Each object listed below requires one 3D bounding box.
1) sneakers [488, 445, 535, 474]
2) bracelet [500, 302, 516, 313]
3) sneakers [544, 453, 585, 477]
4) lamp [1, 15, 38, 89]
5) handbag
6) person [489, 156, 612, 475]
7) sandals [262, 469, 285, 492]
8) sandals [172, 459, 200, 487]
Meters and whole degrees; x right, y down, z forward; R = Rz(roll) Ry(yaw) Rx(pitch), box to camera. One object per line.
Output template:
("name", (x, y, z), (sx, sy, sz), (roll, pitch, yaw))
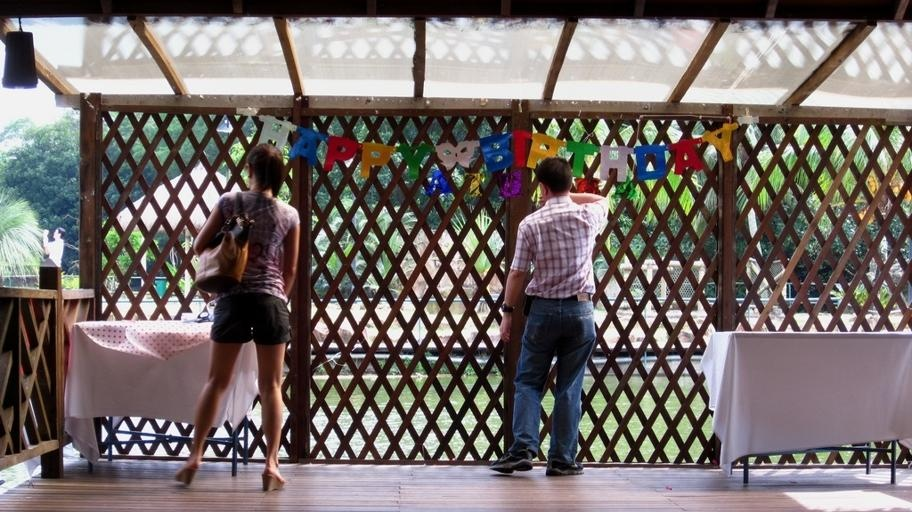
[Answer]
("sneakers", (0.379, 1.318, 5.708), (0.326, 0.161, 0.130), (-14, -36, 33))
("bracelet", (0.338, 0.335, 5.776), (0.069, 0.050, 0.075), (4, 0, -15))
("sneakers", (0.707, 1.362, 5.789), (0.256, 0.119, 0.100), (1, -2, -26))
("lamp", (-2.721, -1.247, 5.549), (0.192, 0.414, 0.265), (-4, 12, -25))
("handbag", (-1.382, -0.060, 5.369), (0.211, 0.588, 0.518), (33, -32, -18))
("person", (0.621, 0.390, 5.742), (0.682, 1.997, 0.488), (1, 11, -1))
("sandals", (-1.111, 1.377, 5.418), (0.085, 0.063, 0.159), (2, -2, 5))
("sandals", (-1.617, 1.320, 5.387), (0.104, 0.159, 0.222), (12, -21, -24))
